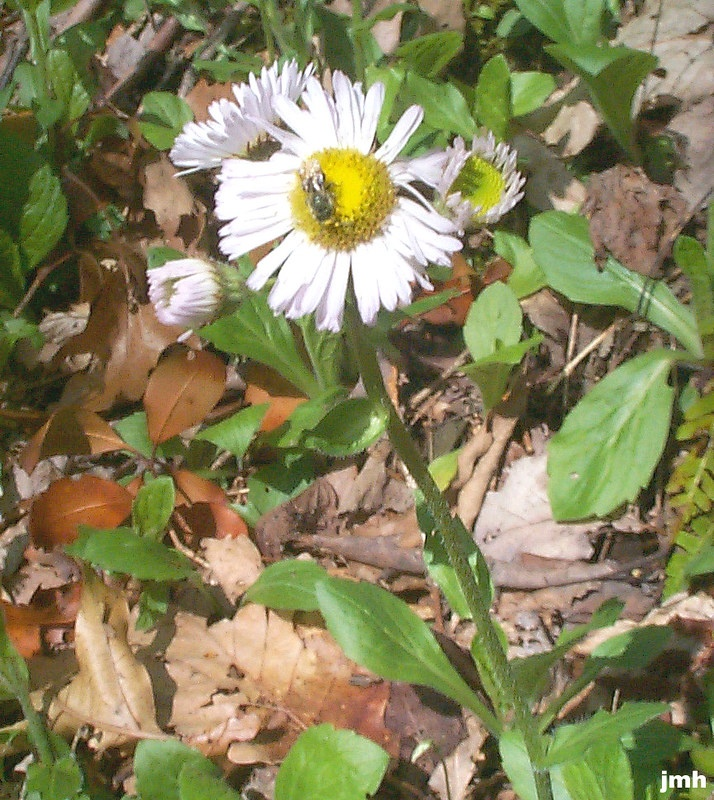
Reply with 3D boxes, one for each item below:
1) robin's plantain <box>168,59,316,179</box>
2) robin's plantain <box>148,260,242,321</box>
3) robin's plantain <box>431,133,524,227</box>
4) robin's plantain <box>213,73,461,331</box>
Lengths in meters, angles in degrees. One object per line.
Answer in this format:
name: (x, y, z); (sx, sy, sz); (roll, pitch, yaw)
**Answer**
robin's plantain: (-0.207, -0.530, 1.744); (0.268, 0.131, 0.247); (-43, 3, 40)
robin's plantain: (-0.286, -0.194, 1.650); (0.151, 0.107, 0.069); (-5, 3, -4)
robin's plantain: (0.183, -0.443, 1.762); (0.199, 0.091, 0.179); (-23, 14, -17)
robin's plantain: (-0.033, -0.325, 1.578); (0.114, 0.455, 0.471); (-58, 26, -6)
